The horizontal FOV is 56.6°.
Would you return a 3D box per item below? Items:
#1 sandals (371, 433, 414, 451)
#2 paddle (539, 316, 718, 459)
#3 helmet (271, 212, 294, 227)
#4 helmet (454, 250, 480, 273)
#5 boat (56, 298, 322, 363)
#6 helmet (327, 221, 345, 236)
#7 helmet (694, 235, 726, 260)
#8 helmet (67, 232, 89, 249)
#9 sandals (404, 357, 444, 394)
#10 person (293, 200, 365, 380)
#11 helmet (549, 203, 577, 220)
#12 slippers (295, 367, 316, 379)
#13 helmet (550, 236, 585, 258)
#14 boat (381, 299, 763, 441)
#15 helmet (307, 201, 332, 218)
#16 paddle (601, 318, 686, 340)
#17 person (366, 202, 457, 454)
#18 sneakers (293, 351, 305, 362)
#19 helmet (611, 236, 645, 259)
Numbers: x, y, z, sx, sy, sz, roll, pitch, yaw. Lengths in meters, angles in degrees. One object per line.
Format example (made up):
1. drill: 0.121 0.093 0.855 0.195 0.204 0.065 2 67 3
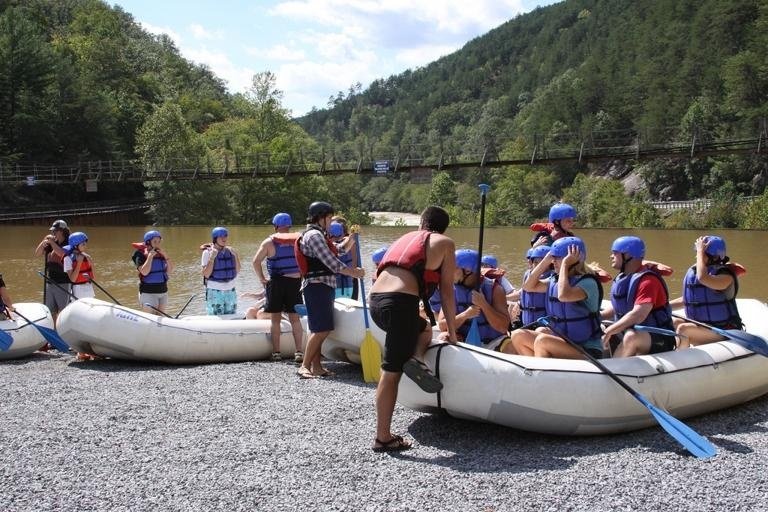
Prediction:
1. sandals: 0.087 2.221 8.474 0.390 0.133 0.200 -1 1 -13
2. paddle: 2.942 1.679 8.798 2.233 0.326 0.182 43 7 17
3. helmet: -1.649 -0.591 11.565 0.289 0.326 0.357 -4 10 -27
4. helmet: 1.115 0.039 9.582 0.263 0.198 0.361 -3 26 -32
5. boat: -3.329 1.304 11.414 2.525 0.635 1.619 6 -6 -29
6. helmet: -0.823 -0.468 12.256 0.197 0.163 0.292 8 43 -3
7. helmet: 4.598 -0.148 10.081 0.355 0.293 0.270 28 18 28
8. helmet: -5.290 -0.286 12.286 0.390 0.303 0.269 -12 13 -10
9. sandals: 0.420 1.391 8.307 0.550 0.269 0.199 40 30 3
10. person: -0.891 0.519 10.134 0.498 2.552 0.895 -4 8 -34
11. helmet: 2.616 -0.651 10.530 0.373 0.282 0.267 1 7 21
12. slippers: -1.146 1.720 10.479 0.178 0.114 0.438 2 -2 -18
13. helmet: 2.315 -0.110 9.060 0.420 0.270 0.392 2 6 13
14. boat: 2.782 1.603 8.959 3.121 0.672 1.785 -3 6 -21
15. helmet: -0.929 -0.663 10.299 0.309 0.277 0.231 -11 16 -21
16. paddle: 3.421 0.915 9.145 0.576 0.141 0.398 9 -4 4
17. person: 0.331 0.829 8.773 1.041 2.965 1.421 2 -14 19
18. sneakers: -1.336 1.576 11.176 0.162 0.197 0.442 0 -9 -6
19. helmet: 3.168 -0.087 9.350 0.392 0.290 0.295 -14 4 19
